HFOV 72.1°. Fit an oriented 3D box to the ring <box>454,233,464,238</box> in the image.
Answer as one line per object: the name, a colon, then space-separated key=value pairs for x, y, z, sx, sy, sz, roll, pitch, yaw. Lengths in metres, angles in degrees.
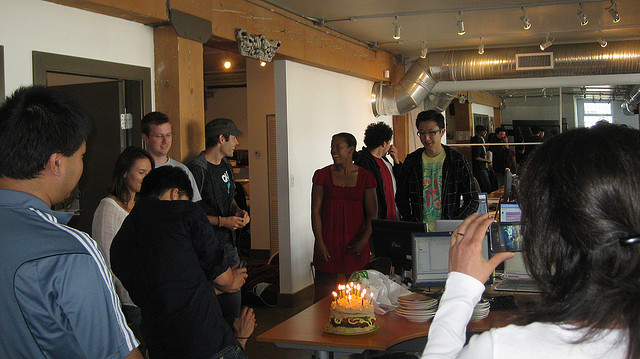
ring: x=0.516 y=0.207 z=1.639 sx=0.033 sy=0.012 sz=0.010 roll=3 pitch=5 yaw=16

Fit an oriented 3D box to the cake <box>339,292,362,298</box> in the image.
cake: x=0.204 y=0.807 z=3.071 sx=0.071 sy=0.014 sz=0.068 roll=0 pitch=1 yaw=-23

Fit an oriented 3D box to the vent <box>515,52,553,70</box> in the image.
vent: x=3.745 y=-2.082 z=7.749 sx=0.613 sy=0.280 sz=0.054 roll=2 pitch=4 yaw=12

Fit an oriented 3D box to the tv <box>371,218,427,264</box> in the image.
tv: x=0.686 y=0.626 z=3.978 sx=0.198 sy=0.454 sz=0.654 roll=7 pitch=-7 yaw=-35

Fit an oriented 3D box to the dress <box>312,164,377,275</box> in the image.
dress: x=0.350 y=0.440 z=4.792 sx=0.706 sy=1.130 sz=0.517 roll=1 pitch=7 yaw=33

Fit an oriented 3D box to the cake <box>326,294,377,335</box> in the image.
cake: x=0.228 y=0.923 z=2.972 sx=0.275 sy=0.158 sz=0.267 roll=0 pitch=-5 yaw=-15

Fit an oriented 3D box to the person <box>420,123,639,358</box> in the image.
person: x=0.741 y=0.215 z=1.815 sx=0.782 sy=0.505 sz=0.815 roll=0 pitch=-4 yaw=0

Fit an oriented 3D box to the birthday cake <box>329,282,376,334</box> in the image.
birthday cake: x=0.227 y=0.908 z=3.119 sx=0.303 sy=0.276 sz=0.296 roll=1 pitch=-7 yaw=-4
